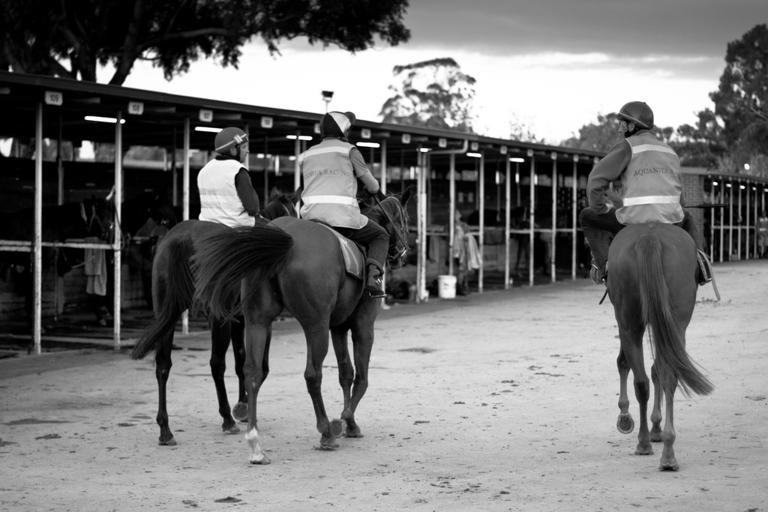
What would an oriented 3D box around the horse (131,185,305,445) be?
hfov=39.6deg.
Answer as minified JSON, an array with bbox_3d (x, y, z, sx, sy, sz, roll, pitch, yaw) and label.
[{"bbox_3d":[-2.146,0.804,13.928,0.932,3.123,3.933,-4,-5,22],"label":"horse"}]

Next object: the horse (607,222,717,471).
[{"bbox_3d":[3.184,0.990,12.263,0.848,2.716,0.978,0,1,-29],"label":"horse"}]

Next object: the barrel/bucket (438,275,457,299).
[{"bbox_3d":[1.567,0.776,26.357,0.392,0.534,0.474,0,1,-7],"label":"barrel/bucket"}]
